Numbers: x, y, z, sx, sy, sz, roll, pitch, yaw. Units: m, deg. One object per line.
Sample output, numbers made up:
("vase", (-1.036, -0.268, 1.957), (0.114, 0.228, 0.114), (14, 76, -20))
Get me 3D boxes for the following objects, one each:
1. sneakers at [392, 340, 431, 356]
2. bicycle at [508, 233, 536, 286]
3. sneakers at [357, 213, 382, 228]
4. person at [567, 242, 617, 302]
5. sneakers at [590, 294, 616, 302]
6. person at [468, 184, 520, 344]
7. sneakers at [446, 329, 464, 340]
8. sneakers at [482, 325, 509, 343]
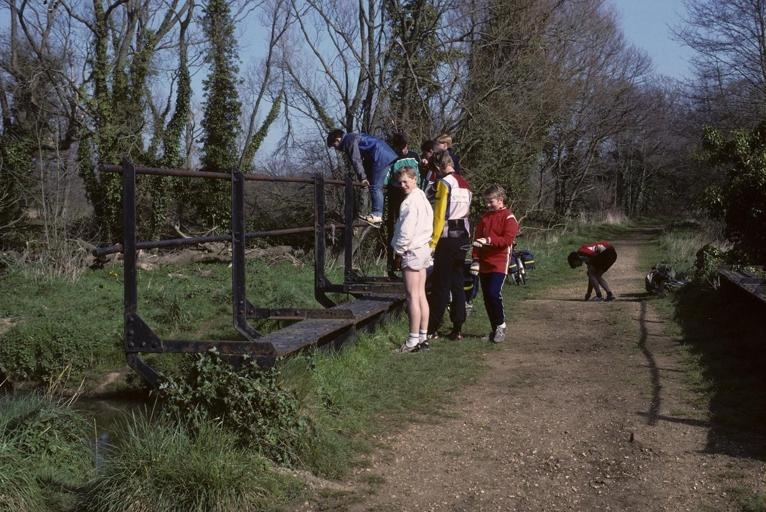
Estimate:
("sneakers", (0.479, 1.301, 8.144), (0.355, 0.138, 0.198), (2, -5, -25))
("bicycle", (3.682, 0.232, 14.797), (0.832, 1.154, 1.745), (0, 2, 4))
("sneakers", (-0.178, -0.565, 9.348), (0.435, 0.202, 0.187), (20, 5, 5))
("person", (4.764, 0.302, 12.808), (1.388, 1.772, 0.811), (0, -3, 24))
("sneakers", (4.732, 0.850, 12.261), (0.545, 0.259, 0.196), (2, -1, 14))
("person", (1.686, 0.160, 8.647), (0.603, 2.417, 0.469), (2, 12, 10))
("sneakers", (1.141, 1.224, 9.040), (0.223, 0.235, 0.122), (-1, 8, -21))
("sneakers", (1.751, 1.212, 8.861), (0.181, 0.233, 0.518), (2, -1, 24))
